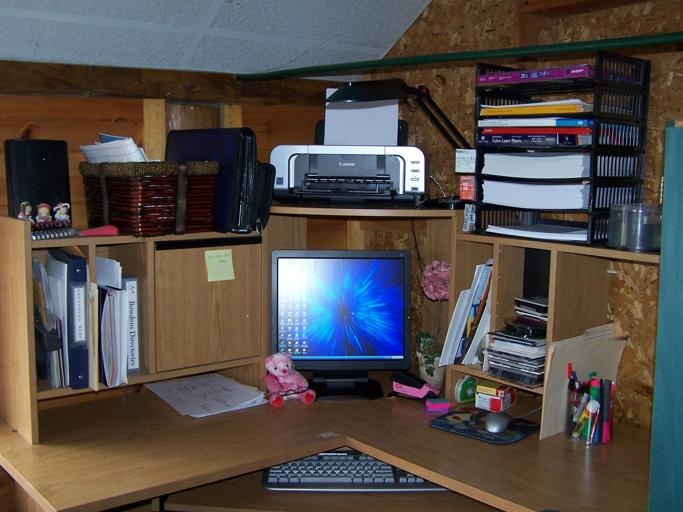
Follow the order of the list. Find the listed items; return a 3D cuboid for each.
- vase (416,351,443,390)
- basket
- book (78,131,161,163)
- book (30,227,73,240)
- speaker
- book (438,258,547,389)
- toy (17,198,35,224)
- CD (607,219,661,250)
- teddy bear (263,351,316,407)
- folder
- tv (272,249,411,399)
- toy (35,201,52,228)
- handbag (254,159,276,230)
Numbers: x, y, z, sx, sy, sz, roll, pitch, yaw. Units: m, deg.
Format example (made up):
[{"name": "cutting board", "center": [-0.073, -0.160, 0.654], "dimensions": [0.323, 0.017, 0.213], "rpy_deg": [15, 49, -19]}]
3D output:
[{"name": "vase", "center": [0.324, 0.417, 2.250], "dimensions": [0.124, 0.146, 0.115], "rpy_deg": [-3, 12, -2]}, {"name": "basket", "center": [-0.670, -0.201, 2.064], "dimensions": [0.349, 0.242, 0.480], "rpy_deg": [4, 8, 25]}, {"name": "book", "center": [-0.711, -0.332, 1.930], "dimensions": [0.135, 0.092, 0.295], "rpy_deg": [-10, 17, -39]}, {"name": "book", "center": [-0.858, -0.066, 1.819], "dimensions": [0.124, 0.026, 0.042], "rpy_deg": [-10, 16, -39]}, {"name": "speaker", "center": [-0.926, -0.217, 1.858], "dimensions": [0.186, 0.260, 0.282], "rpy_deg": [-5, 14, -24]}, {"name": "book", "center": [0.502, 0.226, 2.023], "dimensions": [0.090, 0.371, 0.364], "rpy_deg": [19, -15, -37]}, {"name": "toy", "center": [-0.940, -0.131, 1.816], "dimensions": [0.043, 0.050, 0.091], "rpy_deg": [-6, 14, -26]}, {"name": "CD", "center": [0.814, -0.061, 1.729], "dimensions": [0.089, 0.054, 0.092], "rpy_deg": [-2, 3, -42]}, {"name": "teddy bear", "center": [-0.186, 0.431, 2.136], "dimensions": [0.172, 0.163, 0.148], "rpy_deg": [-5, 17, 7]}, {"name": "folder", "center": [-0.825, 0.205, 1.845], "dimensions": [0.092, 0.432, 0.392], "rpy_deg": [-1, 6, -20]}, {"name": "tv", "center": [-0.015, 0.236, 2.209], "dimensions": [0.539, 0.508, 0.176], "rpy_deg": [0, -1, -3]}, {"name": "toy", "center": [-0.900, -0.125, 1.848], "dimensions": [0.046, 0.065, 0.083], "rpy_deg": [-5, 14, -24]}, {"name": "handbag", "center": [-0.269, -0.204, 2.094], "dimensions": [0.058, 0.185, 0.141], "rpy_deg": [3, -1, 2]}]
